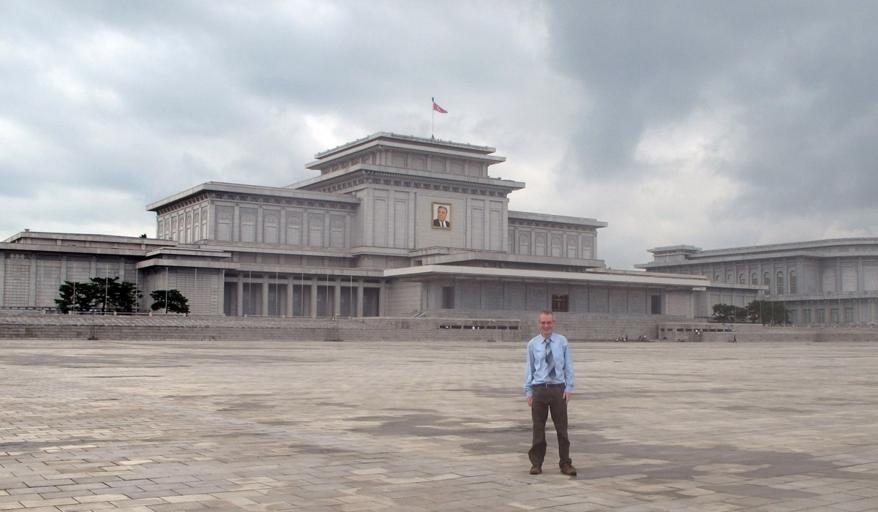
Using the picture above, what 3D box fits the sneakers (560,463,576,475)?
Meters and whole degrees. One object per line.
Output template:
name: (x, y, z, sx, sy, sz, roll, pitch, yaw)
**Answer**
sneakers: (2.266, 3.784, 12.139, 0.151, 0.114, 0.283, 2, -14, -12)
